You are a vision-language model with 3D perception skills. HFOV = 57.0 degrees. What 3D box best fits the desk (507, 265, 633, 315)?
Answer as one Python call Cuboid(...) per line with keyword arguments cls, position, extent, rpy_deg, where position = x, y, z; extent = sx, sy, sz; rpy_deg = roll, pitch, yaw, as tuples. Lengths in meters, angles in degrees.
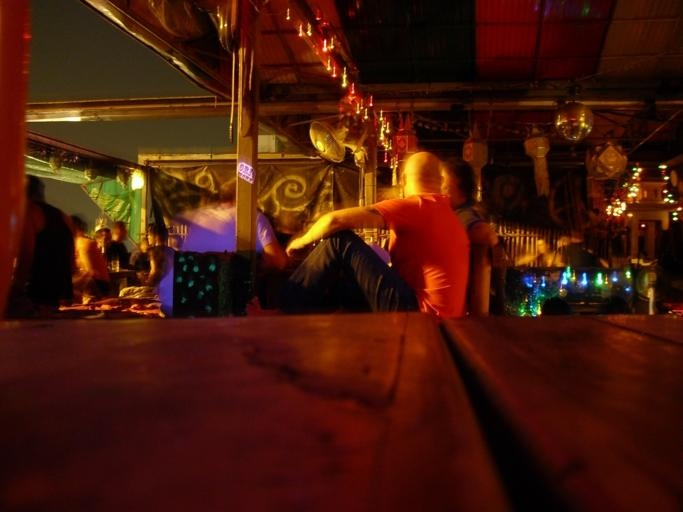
Cuboid(cls="desk", position=(2.387, 0.351, 6.615), extent=(1.438, 0.482, 0.261), rpy_deg=(3, -2, -18))
